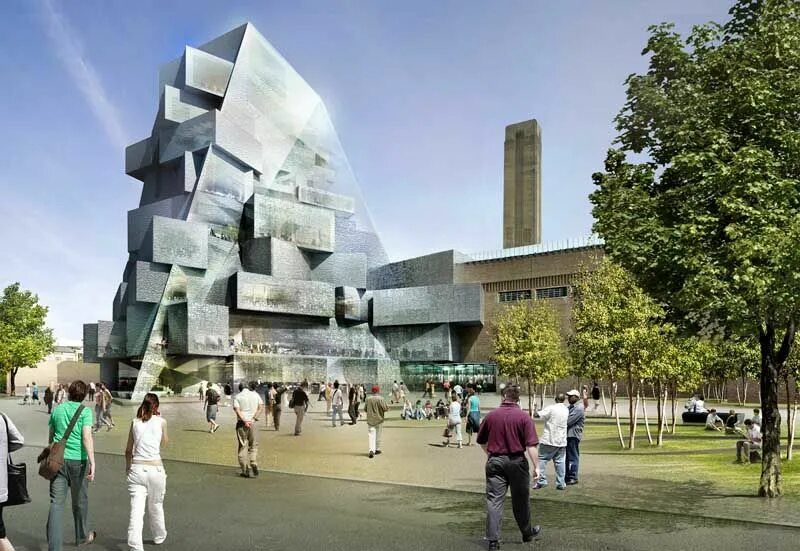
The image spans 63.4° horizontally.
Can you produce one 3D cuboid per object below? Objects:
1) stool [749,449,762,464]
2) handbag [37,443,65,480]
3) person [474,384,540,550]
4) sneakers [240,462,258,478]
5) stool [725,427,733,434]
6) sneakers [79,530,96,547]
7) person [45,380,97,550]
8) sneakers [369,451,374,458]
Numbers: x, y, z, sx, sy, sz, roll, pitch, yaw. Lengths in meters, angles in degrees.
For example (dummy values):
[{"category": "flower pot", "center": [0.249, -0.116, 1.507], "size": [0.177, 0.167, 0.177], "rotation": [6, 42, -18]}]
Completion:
[{"category": "stool", "center": [10.092, 5.123, 18.320], "size": [0.153, 0.348, 0.352], "rotation": [21, -7, -8]}, {"category": "handbag", "center": [-5.289, 2.779, 9.762], "size": [0.368, 0.559, 0.302], "rotation": [1, -13, 0]}, {"category": "person", "center": [1.723, 3.106, 10.028], "size": [1.027, 2.149, 0.731], "rotation": [5, -14, -20]}, {"category": "sneakers", "center": [-3.522, 4.609, 15.456], "size": [0.234, 0.259, 0.626], "rotation": [1, -2, 6]}, {"category": "stool", "center": [14.010, 6.583, 27.556], "size": [0.273, 0.195, 0.271], "rotation": [0, -8, -2]}, {"category": "sneakers", "center": [-4.920, 4.141, 10.272], "size": [0.089, 0.099, 0.239], "rotation": [8, 8, 5]}, {"category": "person", "center": [-5.063, 2.896, 10.003], "size": [0.759, 2.491, 0.834], "rotation": [7, -14, -25]}, {"category": "sneakers", "center": [-0.819, 5.123, 18.640], "size": [0.115, 0.150, 0.256], "rotation": [1, -13, -3]}]
